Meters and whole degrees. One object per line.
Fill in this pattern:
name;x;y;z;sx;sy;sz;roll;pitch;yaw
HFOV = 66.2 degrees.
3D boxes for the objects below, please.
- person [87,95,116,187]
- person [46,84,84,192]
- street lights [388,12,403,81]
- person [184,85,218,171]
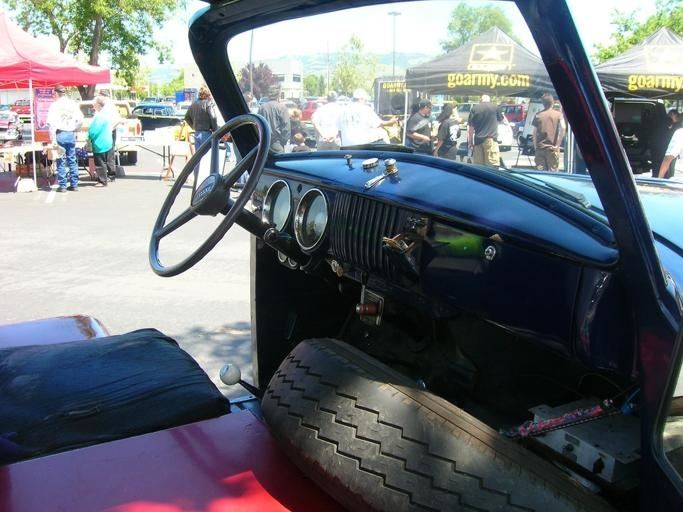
person;-4.770;-2.292;10.485;0.511;1.718;1.141;-5;15;-23
person;-5.135;-2.184;9.808;0.545;1.859;0.678;-6;15;-27
street lights;0.164;-0.656;1.617;0.041;0.192;0.101;2;14;5
person;-2.245;-2.189;8.460;0.492;0.922;0.933;-3;15;-17
